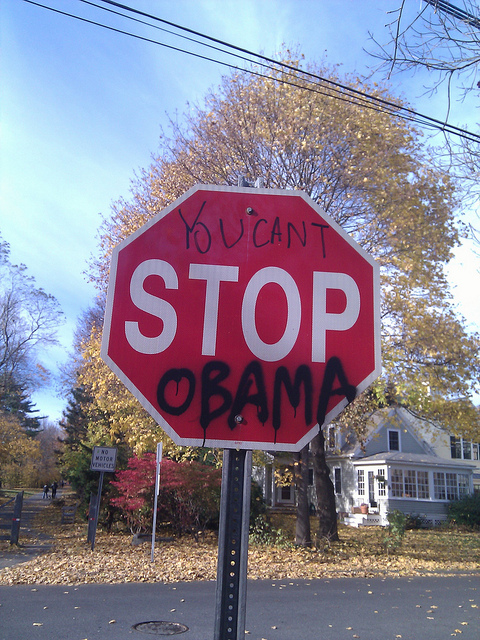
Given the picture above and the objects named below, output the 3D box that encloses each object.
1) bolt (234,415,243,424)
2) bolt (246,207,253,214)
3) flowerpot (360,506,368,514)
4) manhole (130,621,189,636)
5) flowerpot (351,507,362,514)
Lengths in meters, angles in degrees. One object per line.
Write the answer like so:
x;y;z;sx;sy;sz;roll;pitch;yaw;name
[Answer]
-0.002;0.297;1.593;0.025;0.026;0.013;2;-13;-9;bolt
0.034;-0.362;1.757;0.021;0.024;0.012;3;-1;-2;bolt
5.709;8.655;24.231;0.278;0.270;0.299;7;-18;-2;flowerpot
-0.870;3.348;5.778;0.605;0.052;0.591;3;-14;-14;manhole
5.622;8.948;25.101;0.395;0.281;0.402;3;-14;-8;flowerpot
